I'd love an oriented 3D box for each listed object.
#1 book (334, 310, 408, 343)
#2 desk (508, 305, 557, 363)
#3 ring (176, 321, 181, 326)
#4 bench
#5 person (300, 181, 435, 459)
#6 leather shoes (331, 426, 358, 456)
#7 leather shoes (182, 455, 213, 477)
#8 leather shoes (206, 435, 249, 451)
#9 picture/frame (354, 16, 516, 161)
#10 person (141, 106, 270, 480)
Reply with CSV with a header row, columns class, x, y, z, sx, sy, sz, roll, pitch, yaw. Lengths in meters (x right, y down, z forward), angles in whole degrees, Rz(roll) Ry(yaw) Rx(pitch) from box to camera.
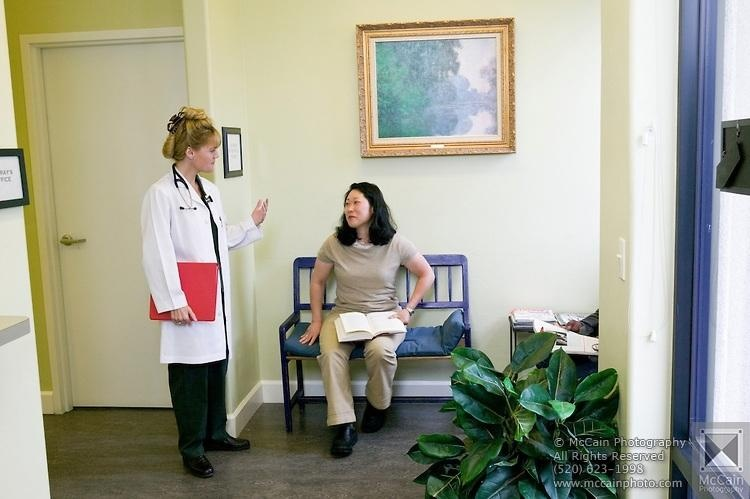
class,x,y,z,sx,sy,sz,roll,pitch,yaw
book,-0.033,0.490,3.837,0.446,0.121,0.249,-3,14,-6
desk,1.044,0.553,4.012,0.368,0.369,0.308,-1,0,2
ring,-1.124,0.421,3.360,0.019,0.009,0.028,2,6,2
bench,0.046,0.617,3.916,1.124,0.991,0.457,-1,4,0
person,-0.127,0.382,3.919,0.692,1.600,0.990,9,17,37
leather shoes,-0.184,1.150,3.679,0.107,0.190,0.280,-2,7,15
leather shoes,-1.064,1.284,3.530,0.204,0.086,0.086,1,1,42
leather shoes,-0.939,1.242,3.799,0.297,0.120,0.109,-1,1,-4
picture/frame,0.452,-1.141,4.027,0.955,0.828,0.075,-1,2,4
person,-1.049,0.258,3.463,0.525,2.114,0.424,-14,18,-40
